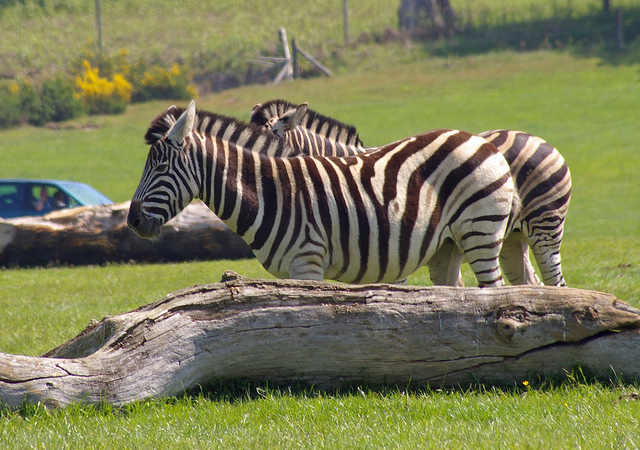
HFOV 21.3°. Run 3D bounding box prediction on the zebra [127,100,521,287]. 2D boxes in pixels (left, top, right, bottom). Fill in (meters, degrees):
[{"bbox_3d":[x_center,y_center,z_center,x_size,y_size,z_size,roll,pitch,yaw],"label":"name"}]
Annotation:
[{"bbox_3d":[0.199,-0.019,37.091,8.878,5.377,2.769,-5,4,-13],"label":"zebra"}]
